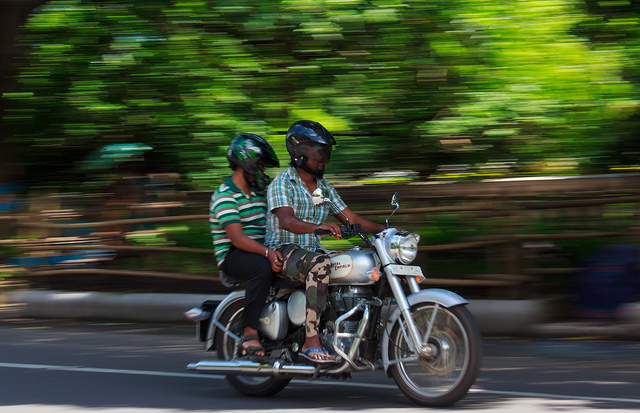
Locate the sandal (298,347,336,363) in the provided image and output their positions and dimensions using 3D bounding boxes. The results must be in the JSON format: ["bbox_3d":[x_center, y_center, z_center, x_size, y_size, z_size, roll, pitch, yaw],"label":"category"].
[{"bbox_3d":[-0.036,1.651,7.220,0.254,0.144,0.324,-4,9,-26],"label":"sandal"}]
